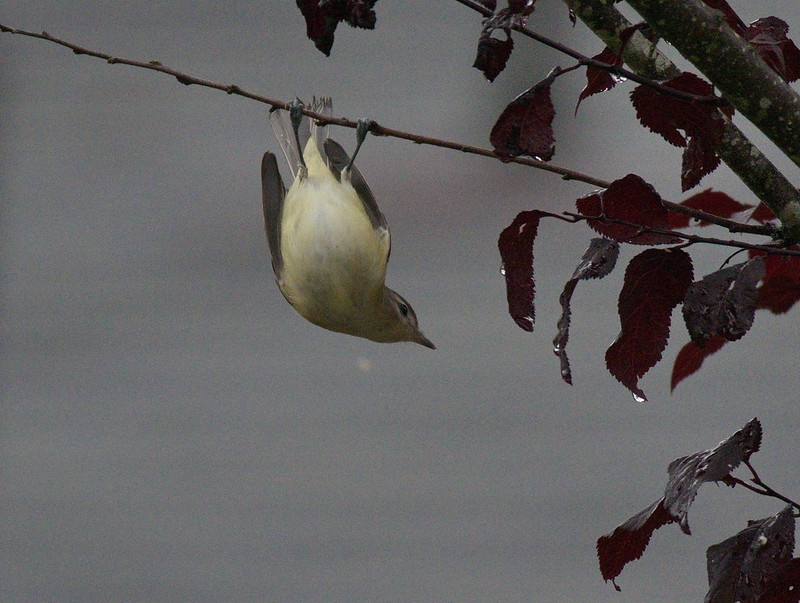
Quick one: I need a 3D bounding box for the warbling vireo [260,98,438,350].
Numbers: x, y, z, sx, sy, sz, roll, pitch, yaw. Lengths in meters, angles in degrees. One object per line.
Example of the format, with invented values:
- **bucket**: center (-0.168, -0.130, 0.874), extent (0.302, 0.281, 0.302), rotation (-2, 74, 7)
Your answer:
- **warbling vireo**: center (-0.074, -0.084, 1.601), extent (0.090, 0.156, 0.235), rotation (-25, 71, 0)
